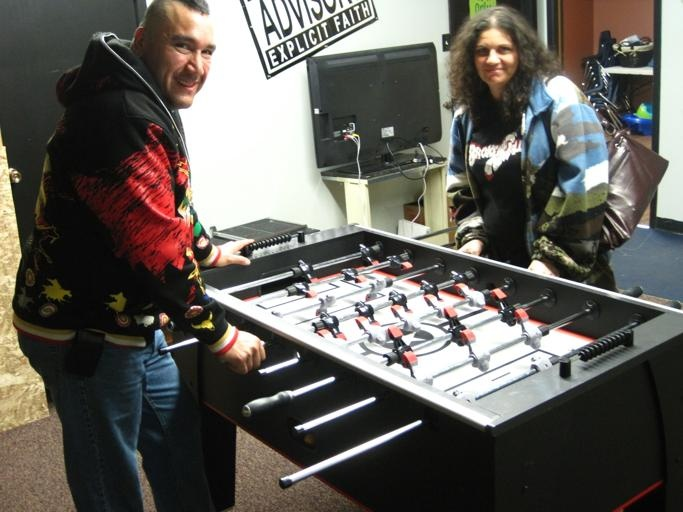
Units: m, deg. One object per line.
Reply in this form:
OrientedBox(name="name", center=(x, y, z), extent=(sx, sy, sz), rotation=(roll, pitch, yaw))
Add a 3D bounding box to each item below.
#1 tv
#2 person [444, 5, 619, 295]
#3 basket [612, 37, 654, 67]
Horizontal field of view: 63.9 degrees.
OrientedBox(name="tv", center=(0.232, -1.163, 4.272), extent=(0.991, 0.740, 0.289), rotation=(-19, 29, -22))
OrientedBox(name="person", center=(0.734, -0.455, 2.365), extent=(0.453, 1.200, 0.771), rotation=(-16, 20, -30))
OrientedBox(name="basket", center=(3.345, -2.378, 6.420), extent=(0.466, 0.296, 0.384), rotation=(-20, 24, -40))
